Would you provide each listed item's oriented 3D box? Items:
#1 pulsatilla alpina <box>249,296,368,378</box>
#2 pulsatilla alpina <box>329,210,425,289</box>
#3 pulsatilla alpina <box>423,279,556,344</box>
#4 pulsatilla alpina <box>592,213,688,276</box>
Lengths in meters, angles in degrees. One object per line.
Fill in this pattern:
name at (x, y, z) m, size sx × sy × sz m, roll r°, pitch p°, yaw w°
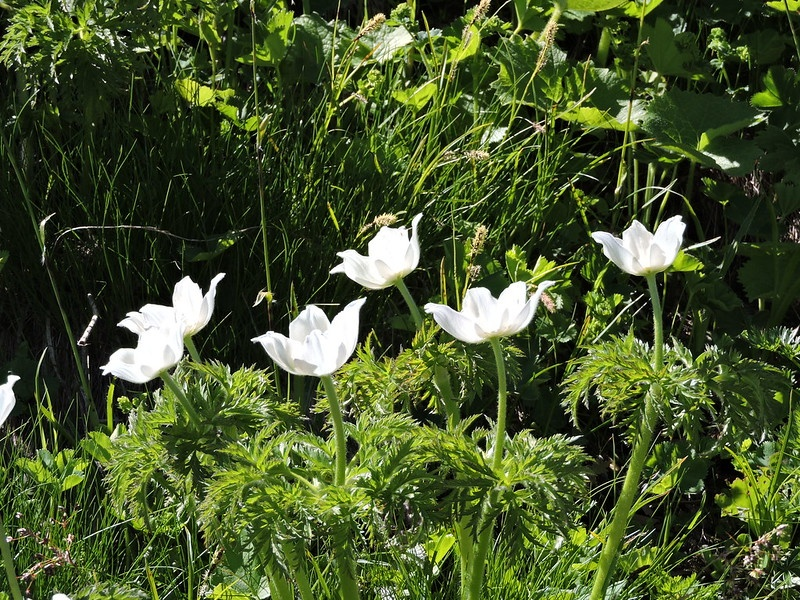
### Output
pulsatilla alpina at (-0.184, 0.065, 1.600) m, size 0.195 × 0.156 × 0.137 m, roll 12°, pitch 29°, yaw 5°
pulsatilla alpina at (-0.053, -0.119, 1.821) m, size 0.183 × 0.208 × 0.114 m, roll 6°, pitch 27°, yaw -4°
pulsatilla alpina at (0.201, 0.028, 1.718) m, size 0.275 × 0.131 × 0.316 m, roll -10°, pitch -4°, yaw -2°
pulsatilla alpina at (0.572, -0.104, 1.819) m, size 0.174 × 0.115 × 0.157 m, roll 1°, pitch 11°, yaw 45°
